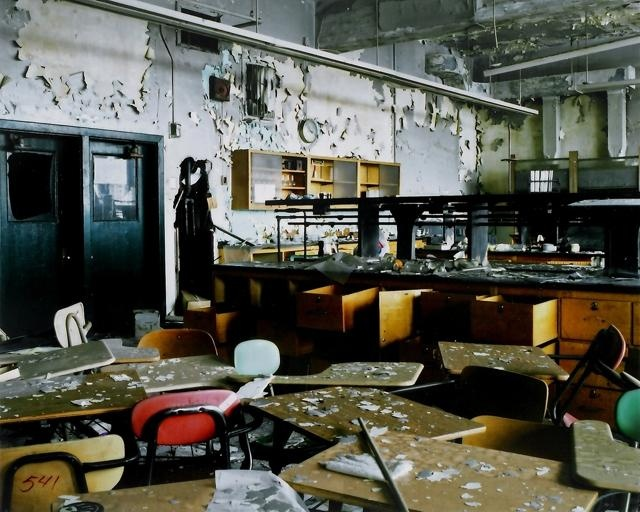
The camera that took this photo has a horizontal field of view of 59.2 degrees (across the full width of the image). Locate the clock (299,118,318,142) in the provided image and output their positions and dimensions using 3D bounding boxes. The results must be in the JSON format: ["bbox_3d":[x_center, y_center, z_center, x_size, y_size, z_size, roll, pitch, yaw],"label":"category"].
[{"bbox_3d":[-0.169,-1.929,8.697,0.072,0.380,0.488,2,7,32],"label":"clock"}]
